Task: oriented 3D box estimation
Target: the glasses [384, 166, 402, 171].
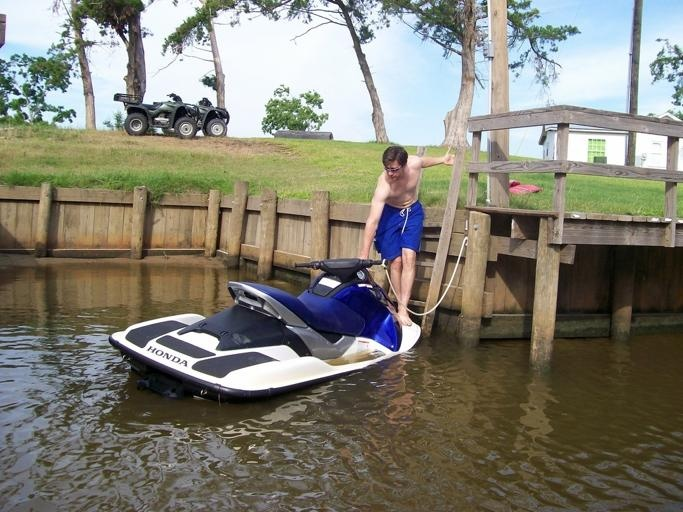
[{"bbox_3d":[0.695,-1.201,8.670,0.221,0.075,0.129,3,6,14],"label":"glasses"}]
